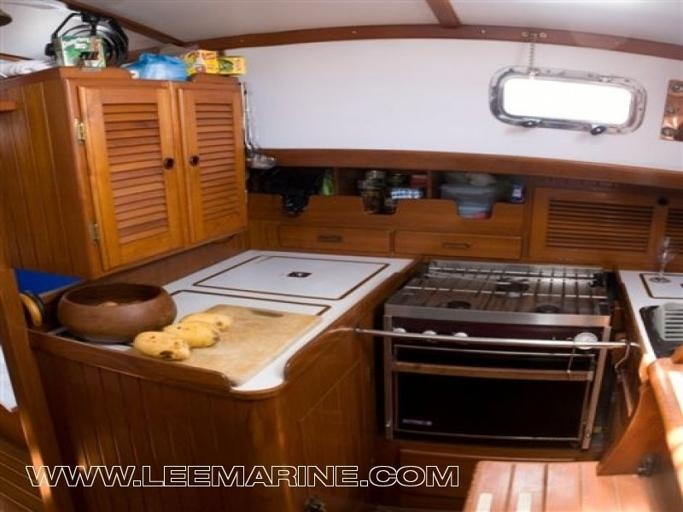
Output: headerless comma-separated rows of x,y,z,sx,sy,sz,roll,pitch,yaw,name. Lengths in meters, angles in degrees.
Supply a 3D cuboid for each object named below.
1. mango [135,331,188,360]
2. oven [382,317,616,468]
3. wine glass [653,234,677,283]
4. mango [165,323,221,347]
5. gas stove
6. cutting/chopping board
-0.589,0.286,1.686,0.168,0.031,0.086,10,19,13,mango
0.748,0.525,2.470,0.891,0.553,0.727,3,15,16,oven
1.512,0.005,2.414,0.068,0.192,0.146,14,22,30,wine glass
-0.524,0.278,1.788,0.136,0.033,0.102,5,9,-7,mango
0.693,0.174,2.291,0.877,0.083,0.530,4,15,13,gas stove
-0.376,0.312,1.805,0.361,0.028,0.335,6,12,21,cutting/chopping board
